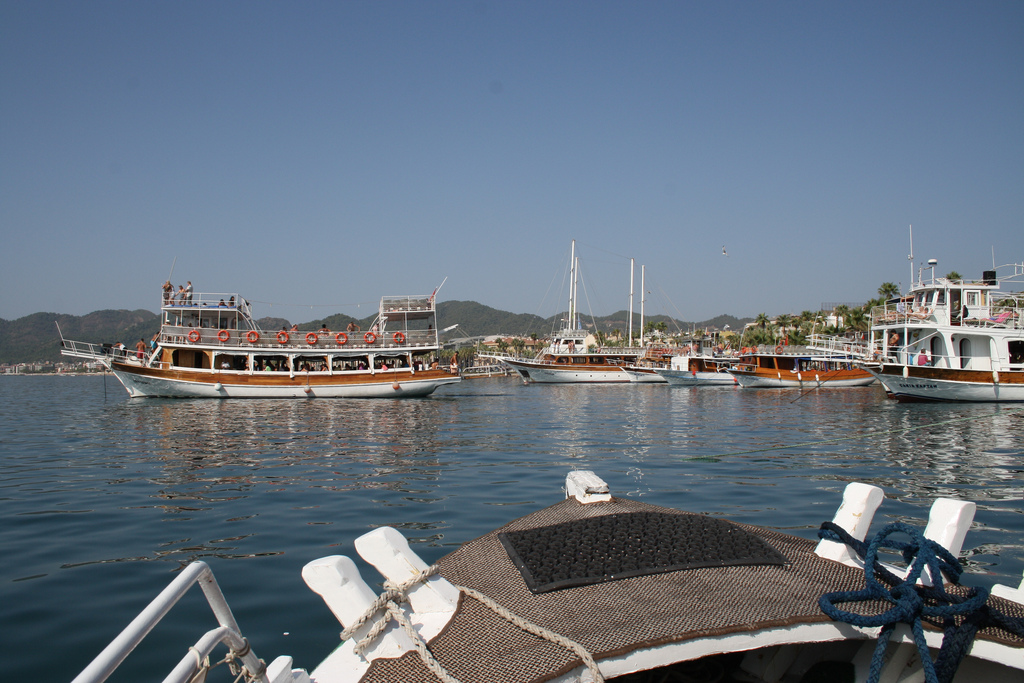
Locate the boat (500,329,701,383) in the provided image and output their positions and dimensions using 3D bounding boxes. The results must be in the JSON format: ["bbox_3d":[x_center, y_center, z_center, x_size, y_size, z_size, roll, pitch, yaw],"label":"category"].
[{"bbox_3d":[8.527,1.805,79.984,20.905,6.874,13.282,-1,-2,-8],"label":"boat"}]

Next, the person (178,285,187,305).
[{"bbox_3d":[-22.905,-3.140,45.233,0.752,1.278,0.350,-1,-2,-23],"label":"person"}]

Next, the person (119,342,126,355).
[{"bbox_3d":[-26.960,0.613,45.131,0.386,0.711,1.447,-1,-2,-27],"label":"person"}]

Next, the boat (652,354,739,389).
[{"bbox_3d":[20.360,3.452,71.536,6.314,2.050,3.703,-1,2,-12],"label":"boat"}]
